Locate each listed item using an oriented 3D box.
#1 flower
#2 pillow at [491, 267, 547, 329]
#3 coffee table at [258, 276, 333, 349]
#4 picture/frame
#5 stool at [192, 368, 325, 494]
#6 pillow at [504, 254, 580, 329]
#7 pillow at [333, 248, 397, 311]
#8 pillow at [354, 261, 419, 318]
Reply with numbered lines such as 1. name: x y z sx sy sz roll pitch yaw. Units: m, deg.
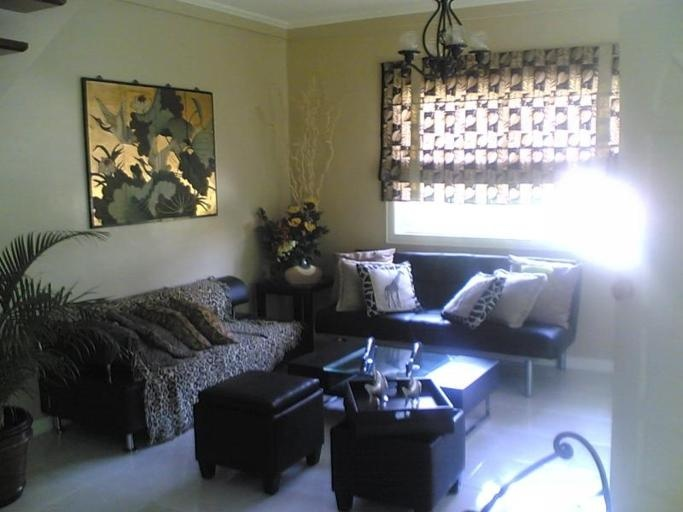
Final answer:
1. flower: -0.475 -0.178 4.969 0.577 0.631 0.426 4 9 42
2. pillow: 1.269 0.309 3.892 0.312 0.349 0.253 -5 7 -31
3. coffee table: -0.396 0.414 4.979 0.613 0.863 0.575 5 9 36
4. picture/frame: -1.423 -0.754 3.898 0.042 0.929 1.071 7 15 31
5. stool: -0.419 0.799 2.781 0.509 0.464 0.534 1 4 27
6. pillow: 1.531 0.262 3.922 0.420 0.449 0.177 8 -8 15
7. pillow: 0.128 0.199 4.557 0.468 0.497 0.161 -4 -15 28
8. pillow: 0.345 0.280 4.349 0.379 0.325 0.176 -6 -2 -20
